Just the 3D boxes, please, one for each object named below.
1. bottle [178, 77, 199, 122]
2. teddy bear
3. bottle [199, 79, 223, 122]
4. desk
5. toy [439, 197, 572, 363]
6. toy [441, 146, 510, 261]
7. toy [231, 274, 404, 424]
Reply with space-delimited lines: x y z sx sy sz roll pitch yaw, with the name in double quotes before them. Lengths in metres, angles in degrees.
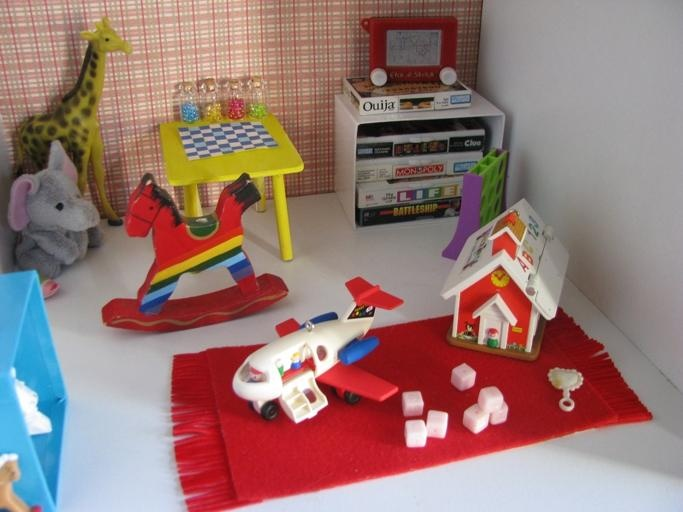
"bottle" -0.800 -0.827 2.837 0.105 0.209 0.115 0 36 0
"teddy bear" -1.329 -0.161 2.494 0.344 0.537 0.477 14 38 5
"bottle" -0.692 -0.828 2.871 0.107 0.212 0.117 1 39 -1
"desk" -0.554 -0.455 2.756 0.649 0.556 0.734 -7 49 -8
"toy" 0.636 0.038 2.289 0.452 0.537 0.611 12 39 22
"toy" 0.640 -0.264 2.573 0.190 0.388 0.412 18 42 19
"toy" -0.083 0.385 1.861 0.484 0.248 0.502 -23 46 -25
